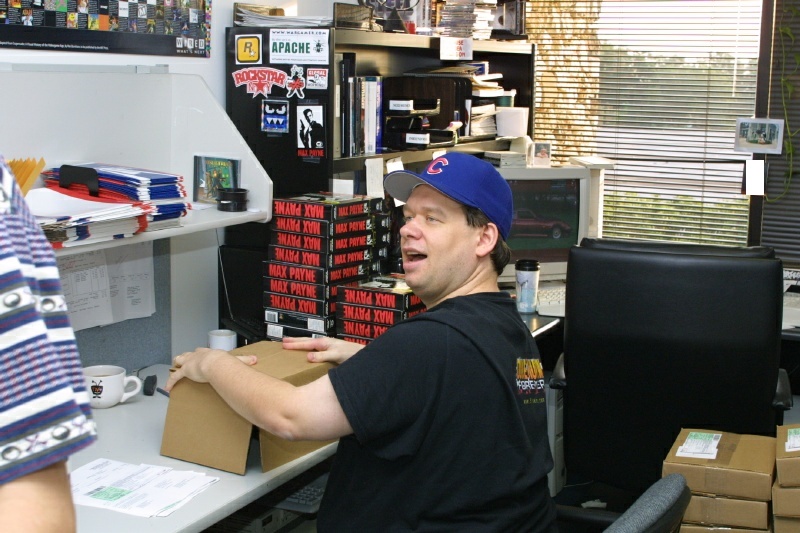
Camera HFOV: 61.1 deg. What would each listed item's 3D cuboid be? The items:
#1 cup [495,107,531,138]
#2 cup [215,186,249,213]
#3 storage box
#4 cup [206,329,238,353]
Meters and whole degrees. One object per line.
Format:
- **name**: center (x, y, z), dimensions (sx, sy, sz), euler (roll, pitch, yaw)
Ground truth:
- **cup**: center (0.635, -0.795, 3.815), dimensions (0.174, 0.173, 0.172), euler (2, 6, 0)
- **cup**: center (-0.576, -0.230, 2.351), dimensions (0.089, 0.054, 0.087), euler (1, 10, 0)
- **storage box**: center (-0.423, 0.332, 1.811), dimensions (0.308, 0.206, 0.408), euler (8, 13, 23)
- **cup**: center (-0.637, 0.268, 2.451), dimensions (0.115, 0.086, 0.115), euler (1, 4, 0)
